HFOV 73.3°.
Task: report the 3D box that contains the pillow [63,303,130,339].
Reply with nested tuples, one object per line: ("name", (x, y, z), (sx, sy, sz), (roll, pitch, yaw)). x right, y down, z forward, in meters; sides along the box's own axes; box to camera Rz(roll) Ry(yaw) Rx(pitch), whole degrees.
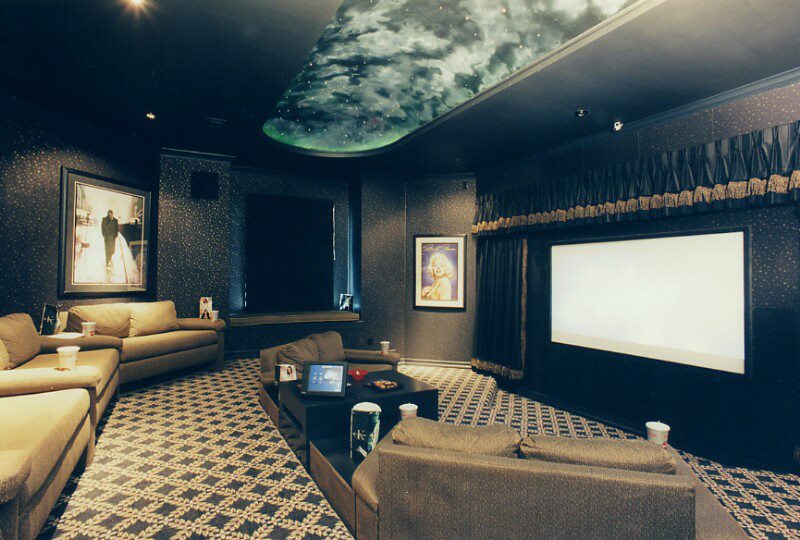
("pillow", (-3.773, 0.673, 6.789), (0.275, 0.518, 0.764), (1, -2, 39))

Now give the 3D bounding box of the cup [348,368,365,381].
("cup", (-0.497, 1.148, 5.952), (0.169, 0.124, 0.237), (2, -4, -10))

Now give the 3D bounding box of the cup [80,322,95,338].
("cup", (-3.713, 0.702, 6.367), (0.175, 0.140, 0.171), (-1, -3, 0))

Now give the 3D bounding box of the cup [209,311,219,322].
("cup", (-2.695, 0.657, 7.715), (0.133, 0.151, 0.132), (1, 5, 0))

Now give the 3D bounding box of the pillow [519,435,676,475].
("pillow", (1.437, 1.289, 3.795), (0.752, 0.220, 0.421), (2, -4, 8))

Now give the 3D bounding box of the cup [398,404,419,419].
("cup", (0.073, 1.286, 5.007), (0.232, 0.163, 0.233), (-1, 0, 0))

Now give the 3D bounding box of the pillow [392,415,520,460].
("pillow", (0.411, 1.153, 3.964), (0.669, 0.226, 0.373), (1, -7, 7))

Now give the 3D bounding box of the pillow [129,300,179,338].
("pillow", (-3.420, 0.608, 7.200), (0.271, 0.530, 0.878), (3, 4, 22))

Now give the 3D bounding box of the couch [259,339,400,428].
("couch", (-0.776, 1.194, 6.266), (1.123, 0.811, 1.563), (4, 7, 22))

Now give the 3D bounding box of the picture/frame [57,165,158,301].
("picture/frame", (-3.922, -0.496, 7.047), (0.089, 2.135, 1.909), (0, 0, 23))

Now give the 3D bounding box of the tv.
("tv", (2.816, 0.313, 5.757), (1.527, 1.392, 0.343), (0, 2, 32))
